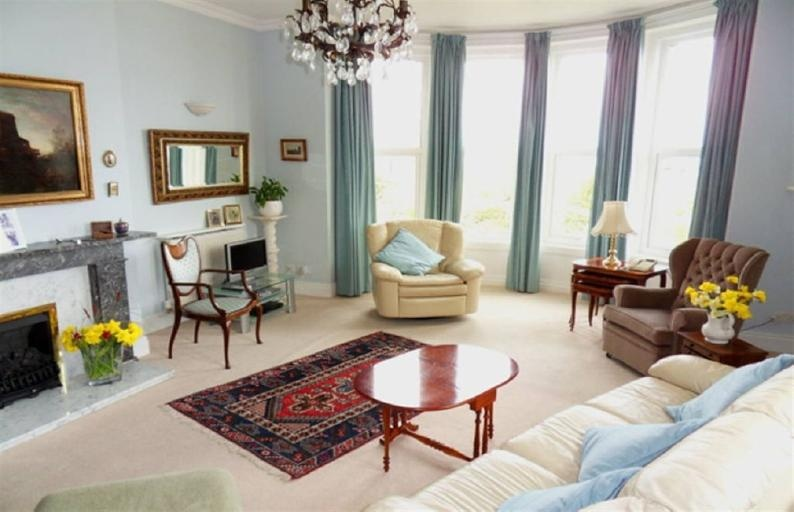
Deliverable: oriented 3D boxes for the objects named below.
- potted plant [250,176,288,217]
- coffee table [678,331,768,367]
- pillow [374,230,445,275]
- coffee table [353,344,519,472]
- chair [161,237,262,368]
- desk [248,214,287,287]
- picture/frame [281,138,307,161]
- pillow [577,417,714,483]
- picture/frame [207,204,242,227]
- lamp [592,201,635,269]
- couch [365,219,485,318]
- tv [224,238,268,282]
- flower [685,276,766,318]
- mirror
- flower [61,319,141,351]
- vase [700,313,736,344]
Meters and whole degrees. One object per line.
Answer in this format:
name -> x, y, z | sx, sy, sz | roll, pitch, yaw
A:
potted plant -> -1.777, -0.791, 6.884 | 0.573, 0.521, 0.566 | 5, 8, 32
coffee table -> 2.722, 0.653, 4.401 | 0.346, 0.380, 0.424 | -1, 12, -2
pillow -> 0.152, -0.027, 6.324 | 0.616, 0.203, 0.614 | 39, 51, 19
coffee table -> 0.324, 1.248, 4.126 | 1.012, 0.621, 1.310 | 5, 7, 36
chair -> -2.002, 0.455, 5.653 | 0.928, 1.137, 0.810 | 5, 13, 3
desk -> -1.660, -0.104, 6.882 | 0.547, 0.878, 0.555 | 4, 11, 32
picture/frame -> -1.335, -1.422, 6.912 | 0.337, 0.246, 0.026 | 2, 9, 15
pillow -> 1.405, 1.157, 3.086 | 0.524, 0.147, 0.584 | -23, -4, -45
picture/frame -> -2.175, -0.520, 6.567 | 0.033, 0.167, 0.315 | -7, 4, 43
lamp -> 2.423, -0.270, 5.890 | 0.517, 0.659, 0.478 | 1, 7, 15
couch -> 0.279, 0.226, 6.648 | 1.551, 1.178, 1.210 | -2, 7, -8
tv -> -1.849, 0.020, 6.481 | 0.217, 0.479, 0.721 | 4, 12, 24
flower -> 2.815, 0.352, 4.455 | 0.533, 0.187, 0.470 | -12, 11, 14
mirror -> -2.332, -1.092, 6.306 | 0.077, 0.811, 1.476 | 12, 16, 24
flower -> -2.662, 0.677, 4.783 | 0.568, 0.316, 0.232 | 2, 32, -20
vase -> 2.662, 0.577, 4.449 | 0.273, 0.235, 0.257 | -4, 9, -15
